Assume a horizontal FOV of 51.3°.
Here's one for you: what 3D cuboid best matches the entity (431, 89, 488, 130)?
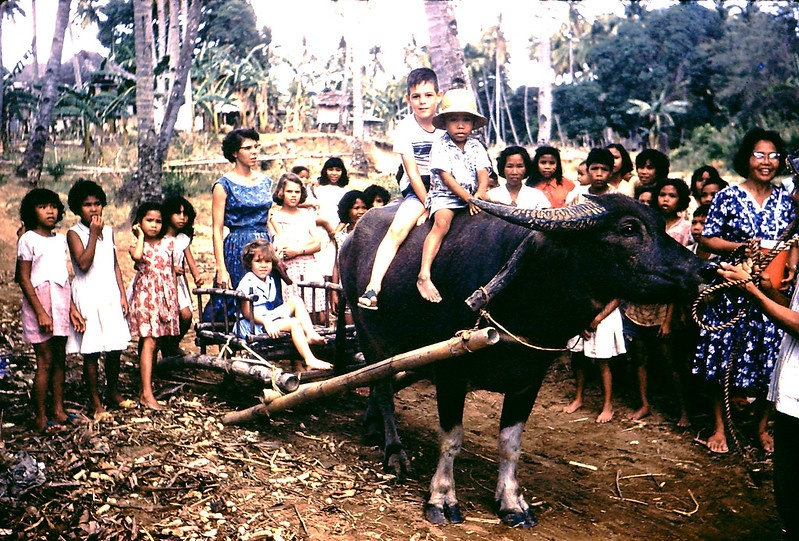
[{"bbox_3d":[0.614,-1.654,8.480,0.540,0.412,0.382,2,5,1],"label":"entity"}]

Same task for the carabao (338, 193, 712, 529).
[{"bbox_3d":[1.006,0.854,8.309,3.497,3.267,1.323,6,7,37],"label":"carabao"}]
